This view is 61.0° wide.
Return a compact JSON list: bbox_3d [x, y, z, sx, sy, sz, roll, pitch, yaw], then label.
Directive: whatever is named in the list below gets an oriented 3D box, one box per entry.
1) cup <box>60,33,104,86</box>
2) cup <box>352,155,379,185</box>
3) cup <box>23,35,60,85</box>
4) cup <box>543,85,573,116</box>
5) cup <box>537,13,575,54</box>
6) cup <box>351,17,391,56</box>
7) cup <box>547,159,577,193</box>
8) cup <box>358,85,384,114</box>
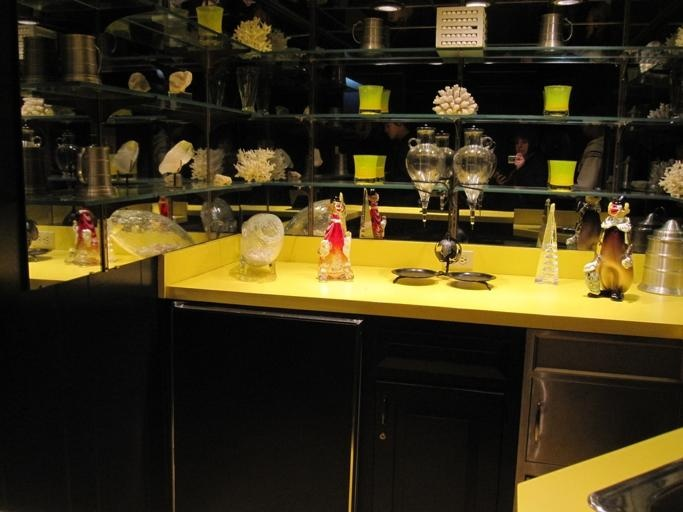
[{"bbox_3d":[-0.859,-0.634,1.949,0.144,0.217,0.159,-7,12,-34],"label":"cup"},{"bbox_3d":[0.121,-0.426,2.861,0.120,0.117,0.121,0,8,0],"label":"cup"},{"bbox_3d":[-0.966,-0.631,1.875,0.103,0.148,0.114,5,7,21],"label":"cup"},{"bbox_3d":[0.982,-0.703,2.674,0.123,0.129,0.145,-1,4,-17],"label":"cup"},{"bbox_3d":[0.995,-1.035,2.689,0.158,0.144,0.104,1,6,13],"label":"cup"},{"bbox_3d":[0.139,-1.077,2.843,0.150,0.149,0.104,6,17,17],"label":"cup"},{"bbox_3d":[1.015,-0.376,2.737,0.129,0.143,0.133,1,2,0],"label":"cup"},{"bbox_3d":[0.137,-0.744,2.809,0.132,0.128,0.125,1,3,0],"label":"cup"}]
